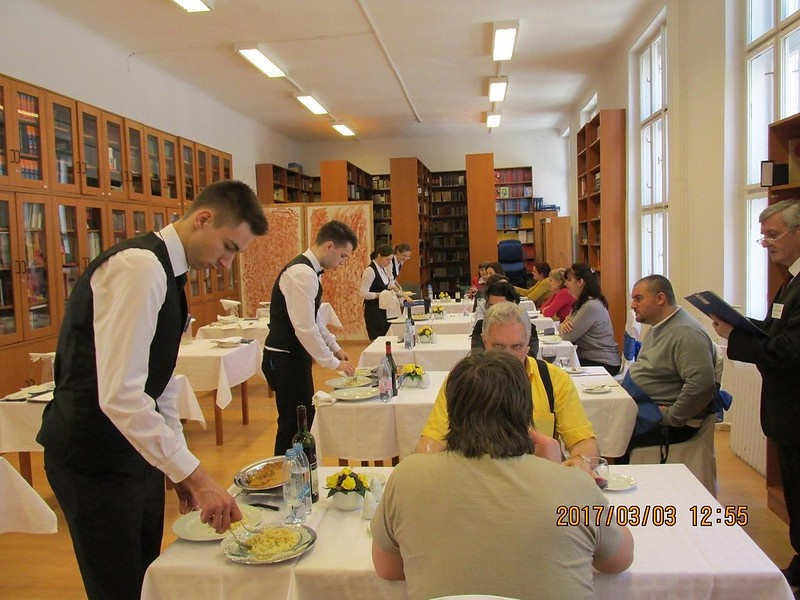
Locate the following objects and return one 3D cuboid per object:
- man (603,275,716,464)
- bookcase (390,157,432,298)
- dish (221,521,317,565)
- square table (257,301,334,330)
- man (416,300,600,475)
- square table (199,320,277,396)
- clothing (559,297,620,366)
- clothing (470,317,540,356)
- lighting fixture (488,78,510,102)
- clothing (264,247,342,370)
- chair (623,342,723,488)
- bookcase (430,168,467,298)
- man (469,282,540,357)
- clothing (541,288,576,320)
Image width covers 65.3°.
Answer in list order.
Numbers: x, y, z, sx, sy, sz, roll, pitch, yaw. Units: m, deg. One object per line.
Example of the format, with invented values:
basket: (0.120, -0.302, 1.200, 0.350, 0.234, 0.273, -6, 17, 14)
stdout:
man: (1.669, 0.571, 4.014, 0.757, 1.433, 0.688, 2, 5, 36)
bookcase: (0.127, -1.870, 12.119, 0.679, 1.790, 0.243, 13, 24, 34)
dish: (-0.492, 0.916, 2.379, 0.338, 0.054, 0.360, 4, 6, 3)
square table: (-1.317, 0.213, 8.705, 0.734, 0.284, 0.726, 1, 3, 4)
man: (0.528, 0.376, 3.174, 0.743, 1.082, 0.782, -1, 1, 7)
square table: (-1.821, 0.560, 6.902, 0.863, 0.450, 0.895, 1, 5, 4)
clothing: (1.615, 0.279, 5.215, 0.544, 0.629, 0.436, 2, 1, 10)
clothing: (0.708, 0.269, 4.302, 0.356, 0.135, 0.369, 0, 6, 7)
lighting fixture: (1.542, -3.306, 9.775, 0.216, 0.098, 0.407, 0, -7, 3)
clothing: (-0.633, -0.002, 4.336, 0.632, 0.964, 0.724, 0, 8, -3)
chair: (1.668, 0.849, 3.884, 0.463, 0.703, 0.476, 1, -2, 7)
bookcase: (1.150, -1.819, 14.243, 0.910, 2.459, 0.282, -2, -3, 25)
man: (0.694, 0.122, 4.164, 0.524, 0.226, 0.922, 0, 6, 8)
clothing: (1.715, 0.049, 6.741, 0.322, 0.369, 0.271, 3, 2, 11)
